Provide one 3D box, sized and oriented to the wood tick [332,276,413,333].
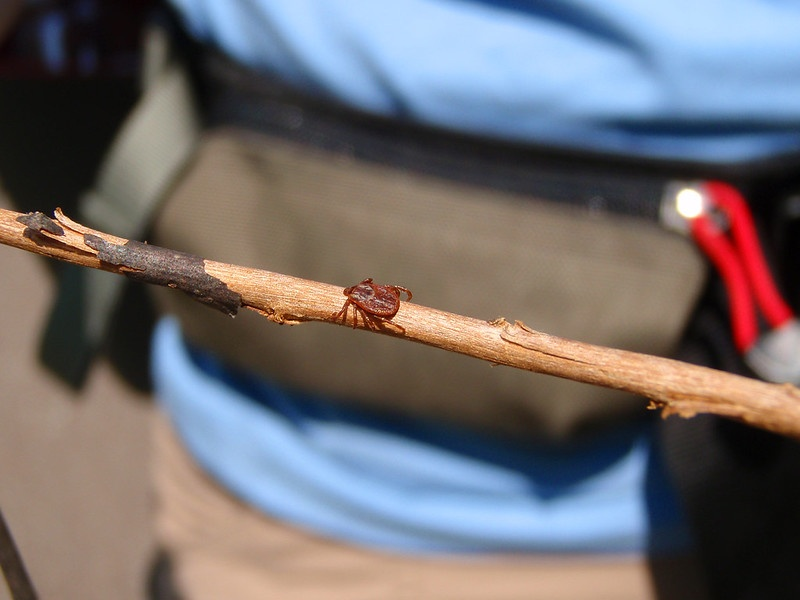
[{"bbox_3d":[-0.155,-0.010,4.246,0.376,0.343,0.100,-3,75,-41],"label":"wood tick"}]
